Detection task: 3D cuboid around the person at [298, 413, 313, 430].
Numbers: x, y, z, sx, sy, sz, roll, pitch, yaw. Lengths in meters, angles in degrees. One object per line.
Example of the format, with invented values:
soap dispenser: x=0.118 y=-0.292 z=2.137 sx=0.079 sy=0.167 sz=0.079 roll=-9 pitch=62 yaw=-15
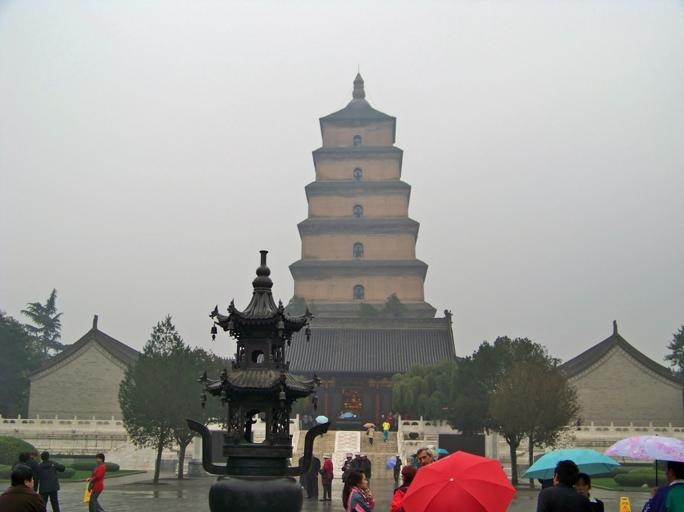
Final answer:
person: x=-1.651 y=7.663 z=45.069 sx=0.681 sy=0.771 sz=1.461 roll=0 pitch=-17 yaw=-3
